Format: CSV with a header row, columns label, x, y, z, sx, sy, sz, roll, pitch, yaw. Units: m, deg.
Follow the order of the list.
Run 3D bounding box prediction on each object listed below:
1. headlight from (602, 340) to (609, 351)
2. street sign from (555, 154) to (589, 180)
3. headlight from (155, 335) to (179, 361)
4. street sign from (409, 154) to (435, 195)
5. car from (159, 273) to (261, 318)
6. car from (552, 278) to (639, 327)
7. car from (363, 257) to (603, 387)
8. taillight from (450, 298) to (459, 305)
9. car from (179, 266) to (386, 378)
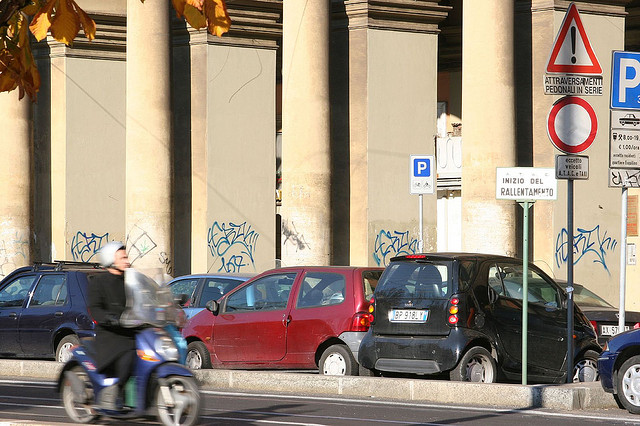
label,x,y,z,sx,sy,sz,roll,pitch,yaw
headlight,4.889,2.274,19.748,0.153,0.181,0.157,3,-1,-7
street sign,4.520,-0.836,20.860,0.366,0.475,0.765,0,-2,43
headlight,-2.281,2.044,17.486,0.360,0.379,0.133,2,-1,-8
street sign,2.248,-0.861,25.597,0.536,0.873,0.410,1,-1,4
car,-2.292,1.630,23.962,1.541,0.786,0.949,2,2,37
car,5.855,1.994,24.685,1.151,1.030,2.020,-1,8,-18
car,3.128,1.973,21.196,3.648,1.875,2.359,1,-4,-34
taillight,2.349,1.548,20.264,0.141,0.110,0.035,1,-1,9
car,-0.499,2.141,22.535,3.359,1.649,2.025,0,-3,33
